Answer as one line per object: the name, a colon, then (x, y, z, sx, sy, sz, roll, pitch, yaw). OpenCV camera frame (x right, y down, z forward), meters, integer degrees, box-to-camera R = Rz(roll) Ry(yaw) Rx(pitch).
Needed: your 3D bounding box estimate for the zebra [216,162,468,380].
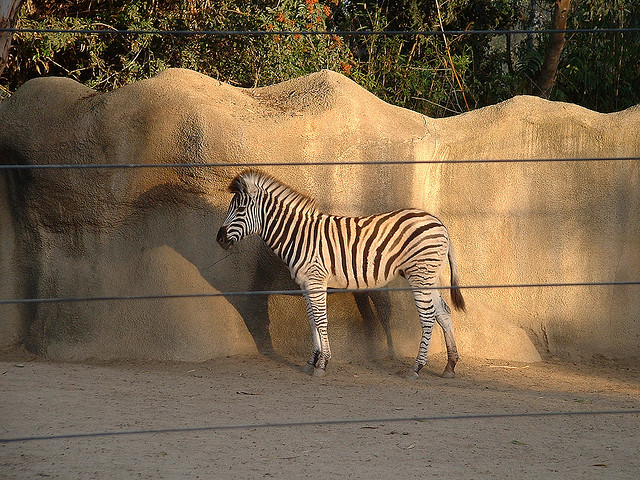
zebra: (0.195, 0.271, 13.609, 2.547, 2.338, 2.128, -7, 12, -37)
